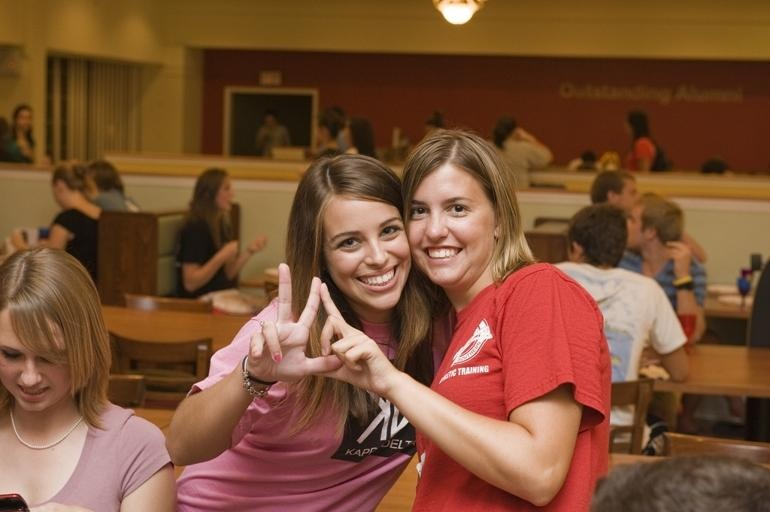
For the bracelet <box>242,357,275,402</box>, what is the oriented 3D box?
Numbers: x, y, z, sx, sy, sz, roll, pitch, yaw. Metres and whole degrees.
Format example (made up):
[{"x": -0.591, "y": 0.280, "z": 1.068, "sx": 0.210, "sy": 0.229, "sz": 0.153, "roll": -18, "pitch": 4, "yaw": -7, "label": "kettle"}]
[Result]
[{"x": -0.337, "y": 0.337, "z": 1.851, "sx": 0.087, "sy": 0.106, "sz": 0.041, "roll": 15, "pitch": 8, "yaw": -2, "label": "bracelet"}]

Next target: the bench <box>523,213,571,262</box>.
[{"x": 0.975, "y": -0.126, "z": 4.140, "sx": 0.346, "sy": 0.340, "sz": 0.115, "roll": -3, "pitch": 11, "yaw": -1, "label": "bench"}]
